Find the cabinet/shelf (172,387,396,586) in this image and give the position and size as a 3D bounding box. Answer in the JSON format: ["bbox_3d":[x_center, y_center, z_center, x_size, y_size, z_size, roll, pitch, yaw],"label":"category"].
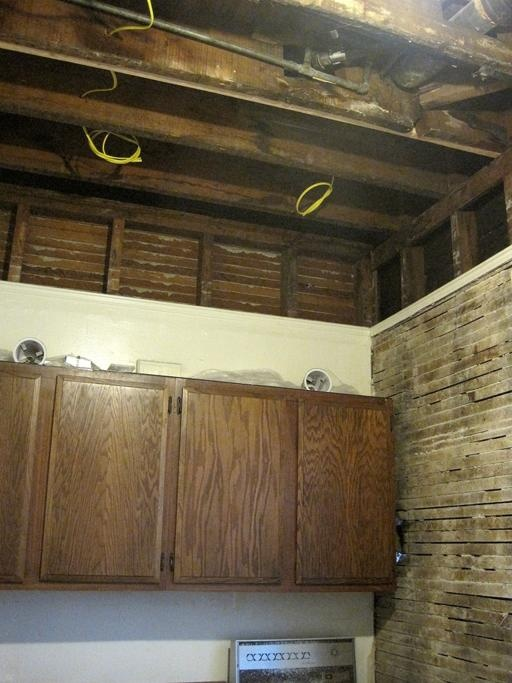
[{"bbox_3d":[0.063,0.606,2.620,1.024,0.793,0.376,9,-17,-25],"label":"cabinet/shelf"}]
